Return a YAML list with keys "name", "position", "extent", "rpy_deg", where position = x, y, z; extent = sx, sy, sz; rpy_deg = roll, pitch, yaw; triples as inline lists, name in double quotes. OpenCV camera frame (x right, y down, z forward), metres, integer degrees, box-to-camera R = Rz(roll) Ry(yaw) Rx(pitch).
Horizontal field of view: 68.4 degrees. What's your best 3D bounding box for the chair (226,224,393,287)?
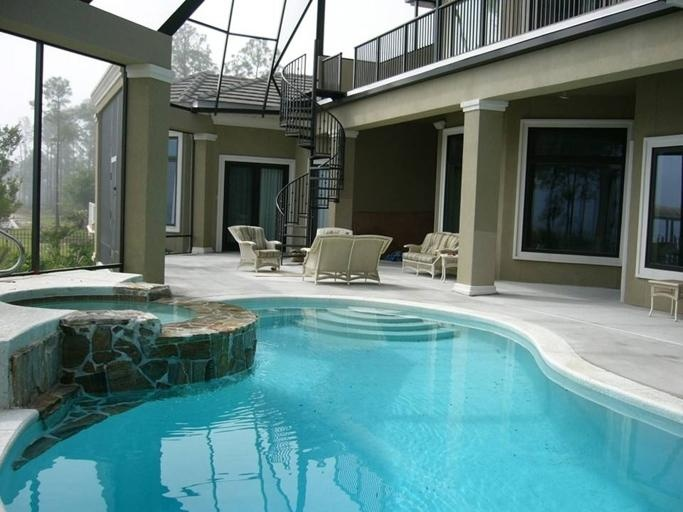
- name: "chair"
  position: [-0.520, -0.095, 11.275]
  extent: [3.939, 1.098, 2.219]
  rpy_deg: [8, 11, 41]
